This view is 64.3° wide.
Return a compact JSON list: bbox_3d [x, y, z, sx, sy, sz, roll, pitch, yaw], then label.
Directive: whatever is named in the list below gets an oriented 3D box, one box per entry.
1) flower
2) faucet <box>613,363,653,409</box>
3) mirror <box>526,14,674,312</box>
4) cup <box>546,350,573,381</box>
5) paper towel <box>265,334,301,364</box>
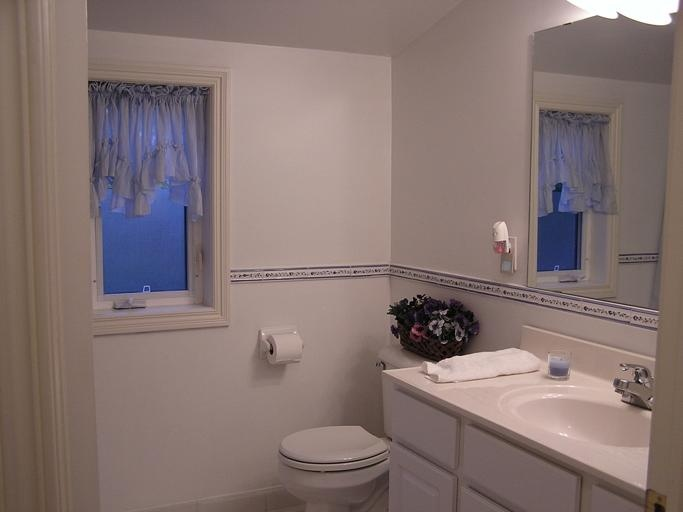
[{"bbox_3d":[0.398,0.286,2.432,0.213,0.209,0.461,-7,8,-39],"label":"flower"},{"bbox_3d":[0.830,0.355,1.545,0.094,0.108,0.161,2,7,28],"label":"faucet"},{"bbox_3d":[0.832,-0.331,1.791,0.101,0.922,0.526,-4,7,-21],"label":"mirror"},{"bbox_3d":[0.696,0.343,1.758,0.076,0.094,0.079,-4,5,0],"label":"cup"},{"bbox_3d":[-0.280,0.447,2.645,0.162,0.144,0.145,2,-11,-26],"label":"paper towel"}]
